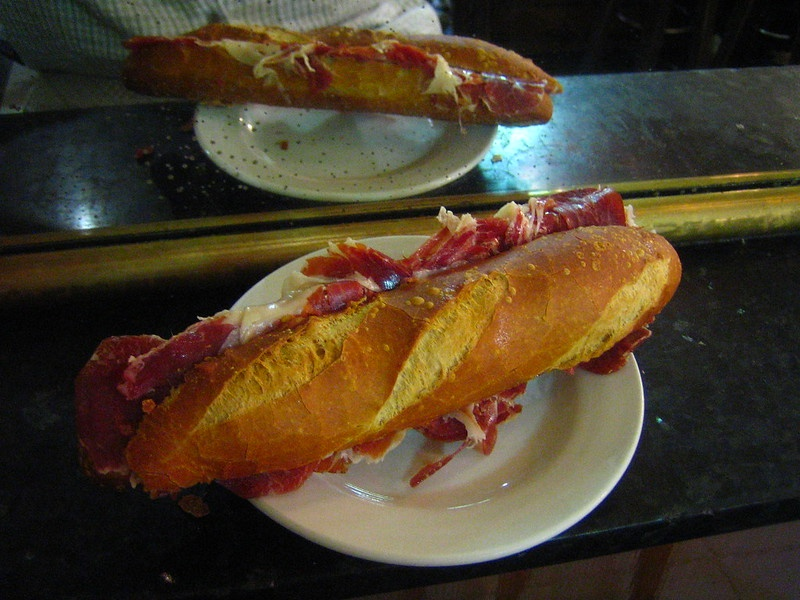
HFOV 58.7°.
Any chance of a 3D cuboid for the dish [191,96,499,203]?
[{"bbox_3d":[-0.099,-0.235,1.114,0.280,0.030,0.260,-9,38,-18],"label":"dish"}]
